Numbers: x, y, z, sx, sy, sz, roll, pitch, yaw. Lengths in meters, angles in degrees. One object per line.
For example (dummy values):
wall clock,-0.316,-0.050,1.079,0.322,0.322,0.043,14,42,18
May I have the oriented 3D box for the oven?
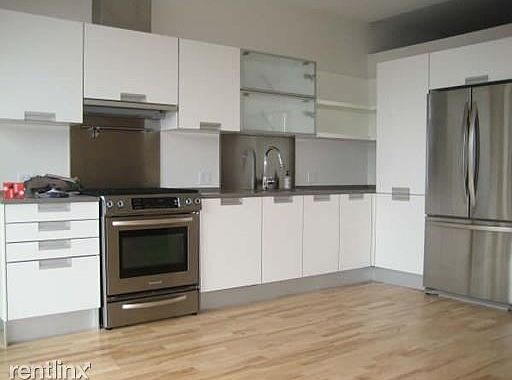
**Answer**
oven,-1.016,0.594,3.858,0.884,1.126,0.805,-2,3,-18
